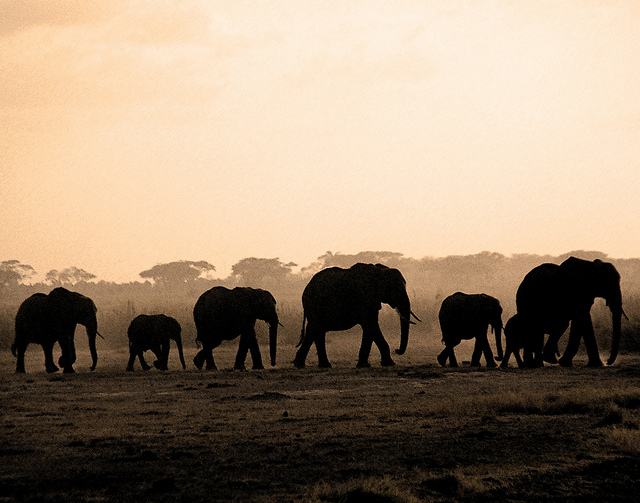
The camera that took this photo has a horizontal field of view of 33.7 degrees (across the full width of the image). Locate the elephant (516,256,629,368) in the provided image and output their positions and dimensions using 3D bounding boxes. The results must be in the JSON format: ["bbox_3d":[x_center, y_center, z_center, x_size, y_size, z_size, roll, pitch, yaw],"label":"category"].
[{"bbox_3d":[7.576,1.888,31.611,3.476,3.367,2.026,-5,4,16],"label":"elephant"}]

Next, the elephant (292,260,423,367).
[{"bbox_3d":[0.966,1.842,31.040,3.130,3.021,1.322,-2,0,15],"label":"elephant"}]

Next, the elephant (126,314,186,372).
[{"bbox_3d":[-5.341,2.919,34.304,1.616,1.750,2.102,-2,0,17],"label":"elephant"}]

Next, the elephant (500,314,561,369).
[{"bbox_3d":[6.399,2.605,32.080,2.465,1.982,1.094,5,-4,-22],"label":"elephant"}]

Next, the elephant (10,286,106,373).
[{"bbox_3d":[-8.304,2.409,33.124,3.414,2.639,1.207,-2,-7,17],"label":"elephant"}]

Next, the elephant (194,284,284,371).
[{"bbox_3d":[-2.621,2.308,32.102,2.457,2.502,1.595,-2,0,16],"label":"elephant"}]

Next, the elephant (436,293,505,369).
[{"bbox_3d":[4.730,2.466,32.326,2.222,2.280,0.957,-4,-1,18],"label":"elephant"}]
